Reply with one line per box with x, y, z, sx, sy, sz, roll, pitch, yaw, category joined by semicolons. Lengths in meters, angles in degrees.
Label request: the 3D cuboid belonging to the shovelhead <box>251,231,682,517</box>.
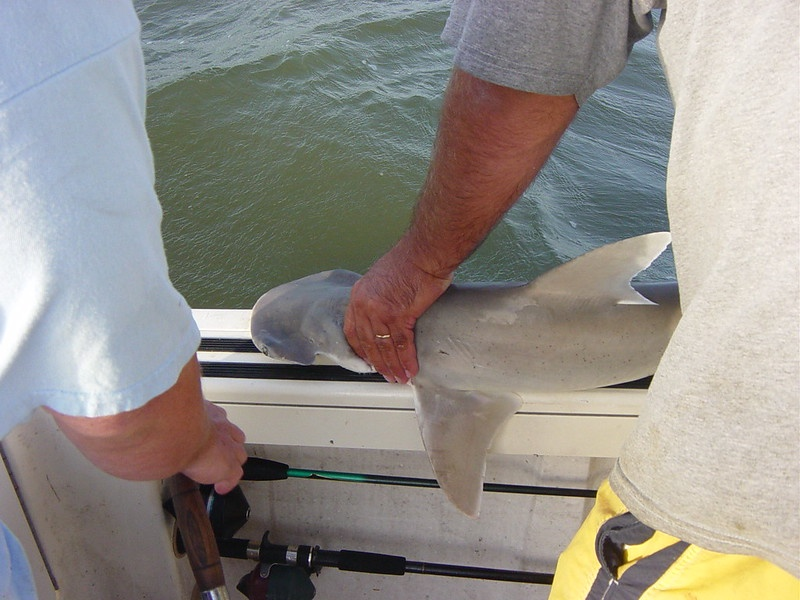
0.012;0.160;2.468;1.576;0.609;0.507;3;13;7;shovelhead
